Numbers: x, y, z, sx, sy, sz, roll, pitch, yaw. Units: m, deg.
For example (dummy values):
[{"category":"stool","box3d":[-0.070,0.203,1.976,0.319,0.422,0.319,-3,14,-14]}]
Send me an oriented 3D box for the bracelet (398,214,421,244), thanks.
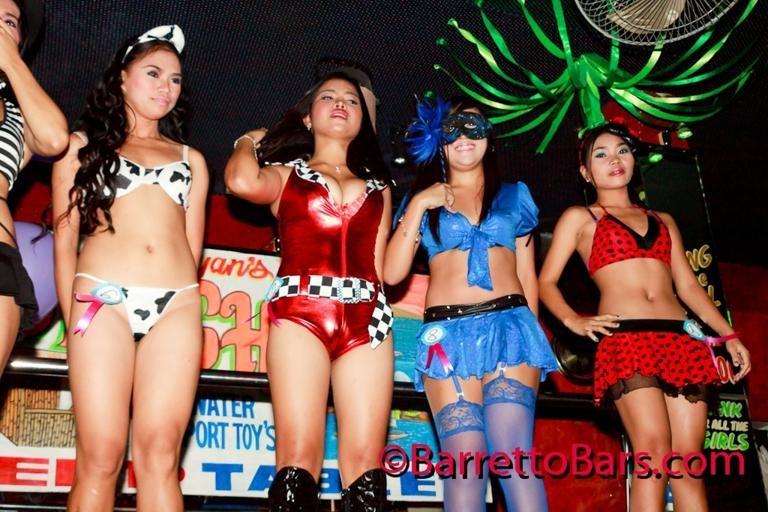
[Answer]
[{"category":"bracelet","box3d":[0.145,-0.169,3.538,0.119,0.171,0.059,5,-14,-12]}]
